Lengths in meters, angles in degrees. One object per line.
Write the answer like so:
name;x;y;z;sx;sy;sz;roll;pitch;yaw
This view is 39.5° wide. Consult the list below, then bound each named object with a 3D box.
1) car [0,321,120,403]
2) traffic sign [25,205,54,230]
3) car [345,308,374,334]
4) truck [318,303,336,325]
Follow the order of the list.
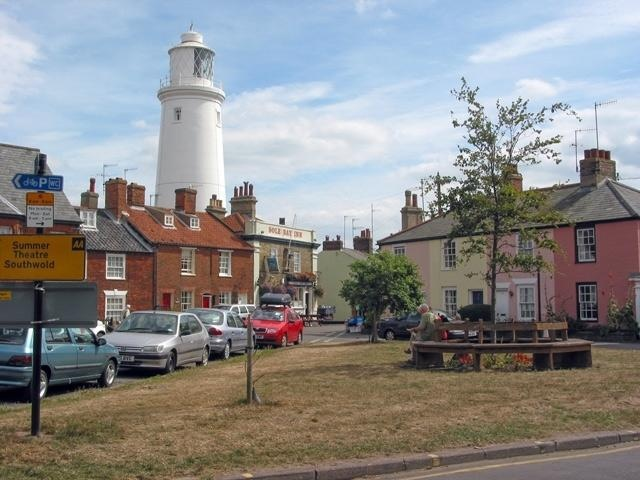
car;-6.527;2.903;22.146;1.494;1.388;2.641;-2;0;33
traffic sign;-5.719;-0.489;18.132;0.521;0.465;0.489;-1;-8;-10
car;2.139;4.726;52.074;1.244;0.961;2.144;-1;-9;4
truck;0.654;5.433;66.485;1.202;1.399;1.022;4;-6;-43
